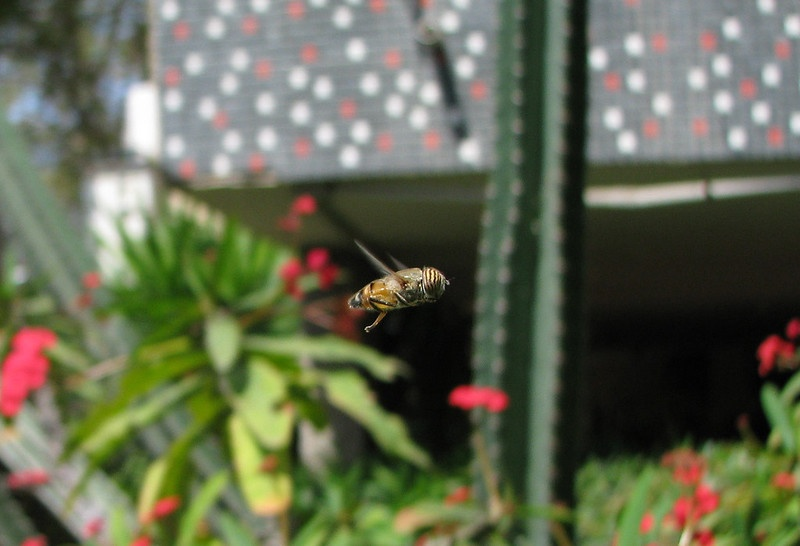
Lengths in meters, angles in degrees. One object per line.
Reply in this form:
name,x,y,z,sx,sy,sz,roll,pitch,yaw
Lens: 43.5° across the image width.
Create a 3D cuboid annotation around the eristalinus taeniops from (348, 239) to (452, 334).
eristalinus taeniops,-0.010,0.010,1.686,0.120,0.099,0.163,-1,4,6
